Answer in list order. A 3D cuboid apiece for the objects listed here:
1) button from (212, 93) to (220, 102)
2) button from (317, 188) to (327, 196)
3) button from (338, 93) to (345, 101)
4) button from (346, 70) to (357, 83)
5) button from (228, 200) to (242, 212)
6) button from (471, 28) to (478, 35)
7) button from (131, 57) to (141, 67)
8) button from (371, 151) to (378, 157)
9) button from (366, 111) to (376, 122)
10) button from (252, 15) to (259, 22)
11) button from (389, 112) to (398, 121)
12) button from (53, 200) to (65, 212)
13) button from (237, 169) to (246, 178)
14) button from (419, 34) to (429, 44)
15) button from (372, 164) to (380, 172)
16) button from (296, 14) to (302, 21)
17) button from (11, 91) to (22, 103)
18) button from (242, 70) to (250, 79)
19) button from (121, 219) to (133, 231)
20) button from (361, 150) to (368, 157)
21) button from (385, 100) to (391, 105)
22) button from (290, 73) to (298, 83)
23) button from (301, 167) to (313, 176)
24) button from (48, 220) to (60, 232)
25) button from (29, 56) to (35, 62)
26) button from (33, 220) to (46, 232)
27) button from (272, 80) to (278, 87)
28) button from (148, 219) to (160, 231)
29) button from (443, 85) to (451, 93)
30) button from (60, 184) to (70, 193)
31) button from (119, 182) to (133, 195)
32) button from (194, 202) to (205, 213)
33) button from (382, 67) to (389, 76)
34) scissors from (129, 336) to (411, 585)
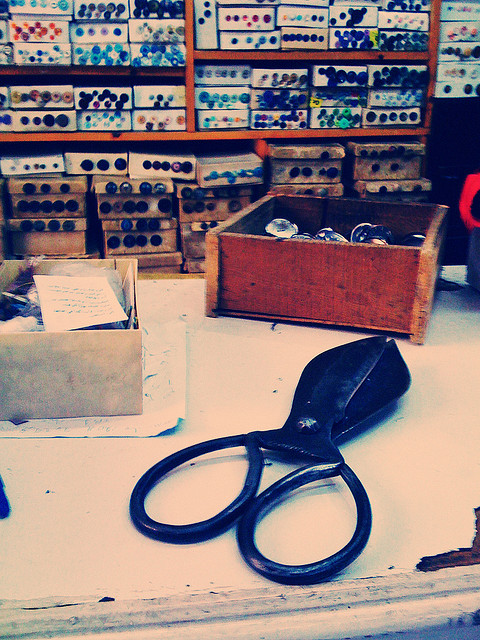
[{"bbox_3d":[-0.070,-0.662,1.791,0.021,0.025,0.004,-11,26,-20],"label":"button"},{"bbox_3d":[0.259,-0.406,1.903,0.027,0.018,0.026,-1,6,2],"label":"button"},{"bbox_3d":[0.312,-0.686,1.852,0.019,0.010,0.017,0,5,4],"label":"button"},{"bbox_3d":[0.337,-0.735,1.820,0.031,0.032,0.005,-5,25,-9],"label":"button"},{"bbox_3d":[-0.014,-0.349,1.843,0.042,0.038,0.007,-1,24,1],"label":"button"},{"bbox_3d":[0.725,-0.894,1.870,0.016,0.015,0.009,1,-2,6],"label":"button"},{"bbox_3d":[-0.295,-0.738,1.724,0.020,0.020,0.005,-12,42,-3],"label":"button"},{"bbox_3d":[0.424,-0.526,1.905,0.015,0.013,0.009,-4,12,-1],"label":"button"},{"bbox_3d":[0.412,-0.641,1.901,0.032,0.031,0.008,-13,27,-24],"label":"button"},{"bbox_3d":[0.045,-0.868,1.733,0.017,0.017,0.003,-8,25,-14],"label":"button"},{"bbox_3d":[0.487,-0.650,1.922,0.027,0.025,0.005,-11,26,-21],"label":"button"},{"bbox_3d":[-0.522,-0.331,1.749,0.030,0.020,0.028,7,24,12],"label":"button"},{"bbox_3d":[0.006,-0.435,1.785,0.026,0.024,0.004,-13,27,-24],"label":"button"},{"bbox_3d":[0.563,-0.862,1.848,0.037,0.026,0.007,-18,29,-35],"label":"button"},{"bbox_3d":[0.433,-0.491,1.935,0.024,0.022,0.005,-1,1,-6],"label":"button"},{"bbox_3d":[0.171,-0.873,1.740,0.016,0.014,0.005,0,24,3],"label":"button"},{"bbox_3d":[-0.621,-0.623,1.679,0.027,0.025,0.013,-5,10,-5],"label":"button"},{"bbox_3d":[0.018,-0.726,1.778,0.020,0.022,0.007,-11,26,-20],"label":"button"},{"bbox_3d":[-0.332,-0.282,1.784,0.020,0.036,0.029,10,26,25],"label":"button"},{"bbox_3d":[0.391,-0.527,1.901,0.020,0.020,0.009,0,24,3],"label":"button"},{"bbox_3d":[0.464,-0.684,1.896,0.013,0.012,0.008,-7,3,-5],"label":"button"},{"bbox_3d":[0.159,-0.718,1.785,0.025,0.026,0.010,-5,24,-9],"label":"button"},{"bbox_3d":[0.210,-0.466,1.890,0.037,0.026,0.006,-9,25,-17],"label":"button"},{"bbox_3d":[-0.539,-0.277,1.756,0.029,0.027,0.006,-10,21,-18],"label":"button"},{"bbox_3d":[-0.574,-0.725,1.673,0.015,0.014,0.002,0,25,3],"label":"button"},{"bbox_3d":[-0.579,-0.274,1.746,0.029,0.026,0.014,-6,15,-13],"label":"button"},{"bbox_3d":[0.104,-0.701,1.778,0.013,0.021,0.015,2,22,-3],"label":"button"},{"bbox_3d":[-0.256,-0.289,1.806,0.031,0.028,0.007,-7,7,-8],"label":"button"},{"bbox_3d":[0.658,-0.736,1.916,0.022,0.022,0.003,-9,25,-16],"label":"button"},{"bbox_3d":[-0.500,-0.379,1.731,0.027,0.024,0.006,-8,25,-14],"label":"button"},{"bbox_3d":[-0.326,-0.379,1.735,0.032,0.030,0.008,-10,18,-5],"label":"button"},{"bbox_3d":[-0.124,-0.345,1.824,0.029,0.026,0.006,-11,16,-12],"label":"button"},{"bbox_3d":[0.444,-0.760,1.841,0.021,0.023,0.005,-11,26,-22],"label":"button"},{"bbox_3d":[0.061,0.115,0.597,0.208,0.036,0.346,10,31,28],"label":"scissors"}]
